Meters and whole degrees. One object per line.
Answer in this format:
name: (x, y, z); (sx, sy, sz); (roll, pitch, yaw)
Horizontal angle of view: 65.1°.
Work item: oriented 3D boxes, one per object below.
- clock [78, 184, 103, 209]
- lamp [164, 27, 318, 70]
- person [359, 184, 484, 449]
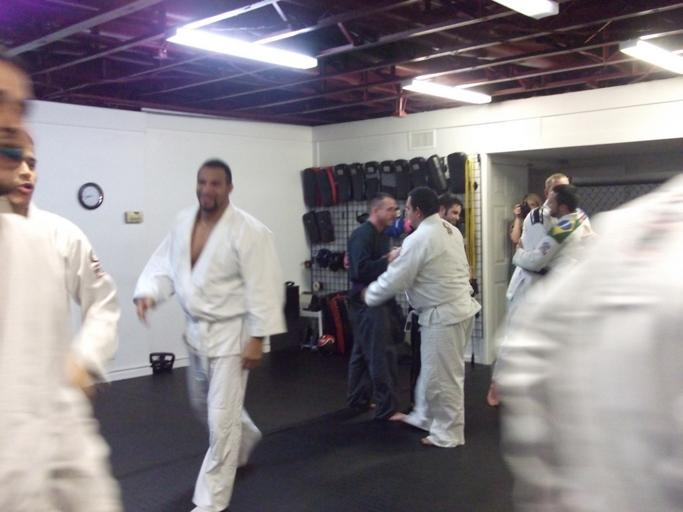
clock: (-2.723, -0.650, 5.822); (0.050, 0.251, 0.239); (6, -7, 39)
lamp: (-0.779, -1.735, 4.416); (1.290, 0.180, 0.275); (-4, 4, -42)
person: (0.668, 0.463, 4.118); (0.751, 1.973, 0.368); (0, 4, 15)
